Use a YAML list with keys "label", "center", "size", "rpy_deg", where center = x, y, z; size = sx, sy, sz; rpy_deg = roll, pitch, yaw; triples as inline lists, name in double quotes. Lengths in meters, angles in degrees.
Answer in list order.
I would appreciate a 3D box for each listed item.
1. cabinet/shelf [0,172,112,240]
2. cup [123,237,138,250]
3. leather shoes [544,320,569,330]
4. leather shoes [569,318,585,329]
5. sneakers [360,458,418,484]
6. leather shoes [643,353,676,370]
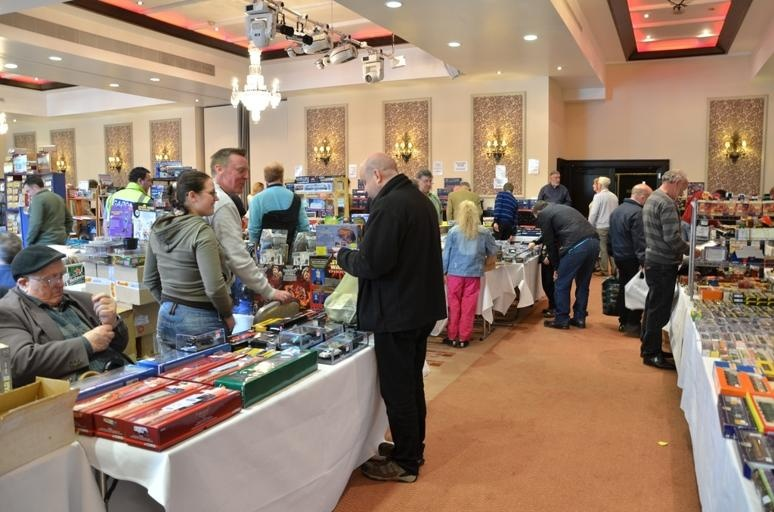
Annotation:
- label: "cabinet/shelf"
  center: [-5.728, -0.840, 8.767]
  size: [1.955, 1.851, 0.764]
  rpy_deg: [1, 3, 30]
- label: "cup"
  center: [-2.459, -0.112, 4.872]
  size: [0.111, 0.108, 0.111]
  rpy_deg: [4, 6, 0]
- label: "leather shoes"
  center: [2.251, 0.892, 6.834]
  size: [0.309, 0.141, 0.116]
  rpy_deg: [8, 10, 37]
- label: "leather shoes"
  center: [2.543, 0.908, 6.881]
  size: [0.099, 0.112, 0.260]
  rpy_deg: [-3, 7, -18]
- label: "sneakers"
  center: [0.006, 1.433, 3.522]
  size: [0.361, 0.166, 0.149]
  rpy_deg: [10, -1, 0]
- label: "leather shoes"
  center: [2.840, 1.106, 5.410]
  size: [0.145, 0.179, 0.421]
  rpy_deg: [-1, -3, -37]
